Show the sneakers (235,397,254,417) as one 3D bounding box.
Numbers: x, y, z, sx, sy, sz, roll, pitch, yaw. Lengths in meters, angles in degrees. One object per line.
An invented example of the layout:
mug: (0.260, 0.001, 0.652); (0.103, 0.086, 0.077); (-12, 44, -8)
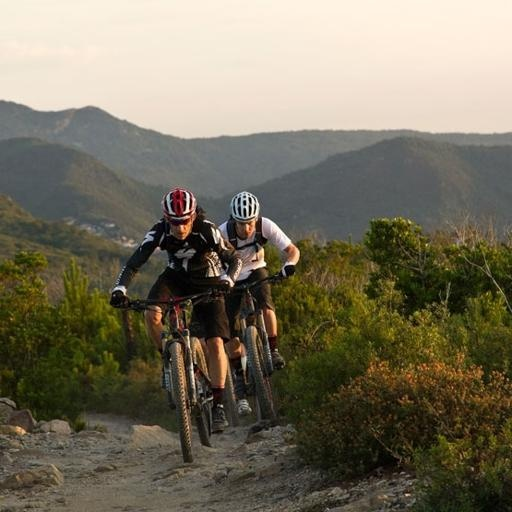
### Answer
sneakers: (-0.146, 1.879, 10.891); (0.120, 0.215, 0.413); (-2, -14, -4)

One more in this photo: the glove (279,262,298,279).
glove: (0.385, 0.177, 10.807); (0.190, 0.133, 0.085); (-26, 8, -29)

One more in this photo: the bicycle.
bicycle: (-0.594, 1.251, 10.343); (1.352, 1.610, 2.389); (-11, -4, 2)

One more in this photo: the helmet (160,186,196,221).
helmet: (-0.788, -0.553, 9.393); (0.241, 0.407, 0.163); (-1, -28, -2)

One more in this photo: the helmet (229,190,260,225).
helmet: (-0.138, -0.619, 11.178); (0.249, 0.435, 0.221); (2, -37, -4)

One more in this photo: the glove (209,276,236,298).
glove: (-0.372, 0.338, 9.665); (0.165, 0.095, 0.251); (-9, 28, 2)
